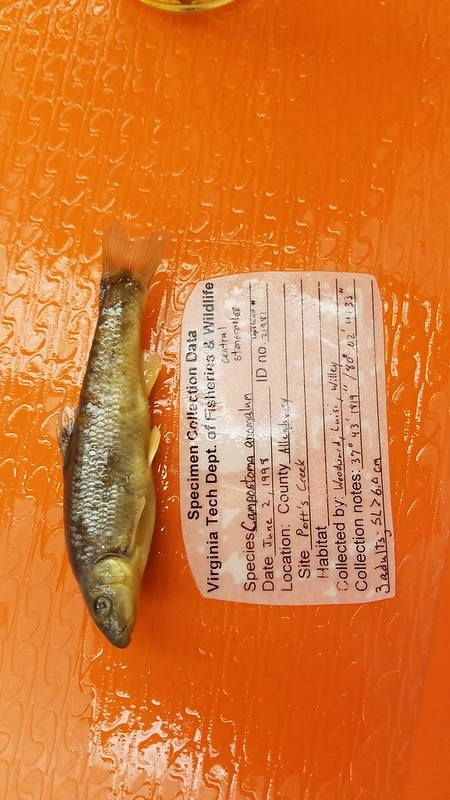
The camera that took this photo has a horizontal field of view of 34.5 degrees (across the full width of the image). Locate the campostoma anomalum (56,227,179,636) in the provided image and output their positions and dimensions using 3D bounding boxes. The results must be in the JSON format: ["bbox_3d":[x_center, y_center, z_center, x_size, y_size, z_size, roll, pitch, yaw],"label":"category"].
[{"bbox_3d":[-0.148,0.030,0.891,0.126,0.095,0.511,1,82,2],"label":"campostoma anomalum"}]
